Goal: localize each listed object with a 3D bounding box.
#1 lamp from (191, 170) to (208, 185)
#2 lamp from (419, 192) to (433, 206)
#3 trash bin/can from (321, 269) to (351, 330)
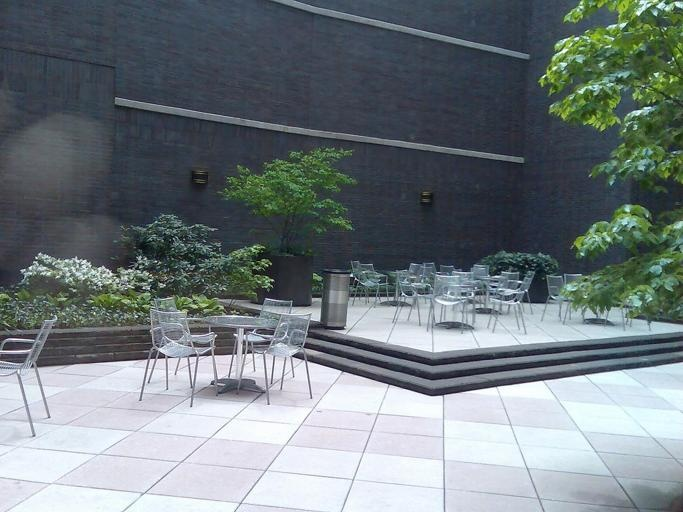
[{"bbox_3d":[-3.730,-2.044,13.161,0.524,0.342,0.457,0,1,13],"label":"lamp"},{"bbox_3d":[2.686,-1.826,16.276,0.574,0.364,0.457,0,2,1],"label":"lamp"},{"bbox_3d":[-0.131,0.790,9.179,0.468,1.082,0.337,4,7,-2],"label":"trash bin/can"}]
